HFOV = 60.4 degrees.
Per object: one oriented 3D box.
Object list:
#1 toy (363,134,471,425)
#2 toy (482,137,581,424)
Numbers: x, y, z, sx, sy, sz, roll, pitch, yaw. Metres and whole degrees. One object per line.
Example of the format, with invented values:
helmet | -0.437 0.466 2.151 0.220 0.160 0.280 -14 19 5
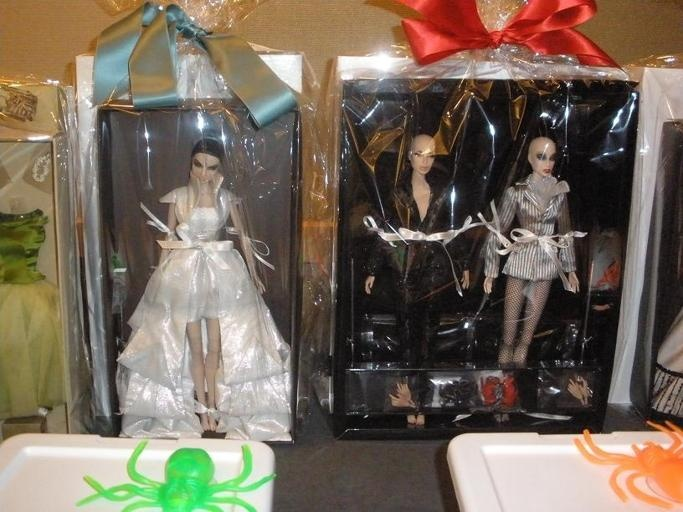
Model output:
toy | 0.270 0.097 2.068 0.346 1.012 0.187 -14 20 -32
toy | 0.661 -0.015 2.055 0.311 0.774 0.159 -9 18 -18
